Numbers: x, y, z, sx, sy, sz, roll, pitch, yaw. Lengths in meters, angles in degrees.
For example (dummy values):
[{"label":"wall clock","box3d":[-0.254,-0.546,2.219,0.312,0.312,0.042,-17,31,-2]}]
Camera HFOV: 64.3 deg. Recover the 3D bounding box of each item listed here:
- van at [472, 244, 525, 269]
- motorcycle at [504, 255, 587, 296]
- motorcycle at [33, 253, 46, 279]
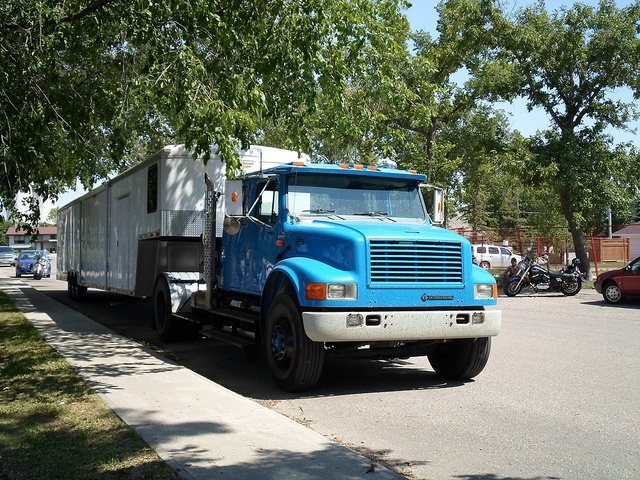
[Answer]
[{"label":"van","box3d":[11.814,0.979,34.000,2.761,1.412,1.648,-2,1,-17]},{"label":"motorcycle","box3d":[9.681,1.439,22.373,2.606,1.636,1.721,1,-3,-1]},{"label":"motorcycle","box3d":[-21.900,2.108,39.715,0.811,1.270,2.629,3,-3,-28]}]
